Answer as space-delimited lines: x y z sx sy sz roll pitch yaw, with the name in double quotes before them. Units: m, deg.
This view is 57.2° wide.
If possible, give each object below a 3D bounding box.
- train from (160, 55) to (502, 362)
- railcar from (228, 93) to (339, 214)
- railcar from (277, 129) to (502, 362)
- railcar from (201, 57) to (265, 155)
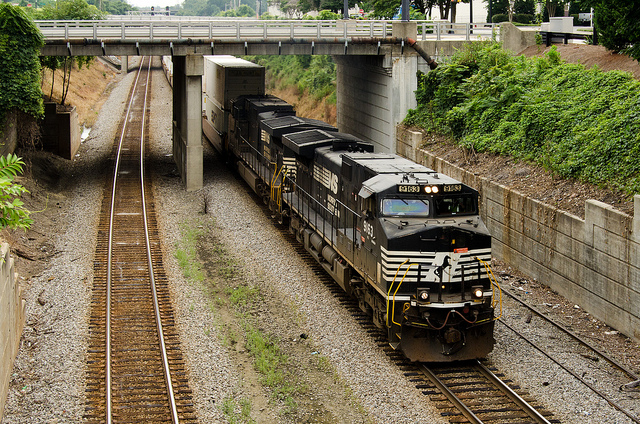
"train" -0.074 -1.359 28.977 4.334 5.631 25.344 -4 16 -19
"railcar" -2.221 -3.346 32.392 3.497 4.891 12.816 -1 19 -23
"railcar" 1.804 0.385 23.295 3.617 5.904 12.840 -7 18 -20
"railcar" -6.436 -8.120 42.560 3.577 5.616 11.235 -4 18 -17
